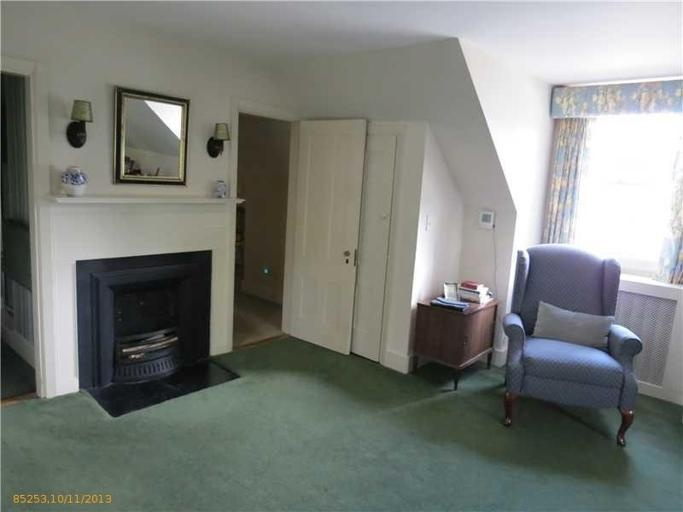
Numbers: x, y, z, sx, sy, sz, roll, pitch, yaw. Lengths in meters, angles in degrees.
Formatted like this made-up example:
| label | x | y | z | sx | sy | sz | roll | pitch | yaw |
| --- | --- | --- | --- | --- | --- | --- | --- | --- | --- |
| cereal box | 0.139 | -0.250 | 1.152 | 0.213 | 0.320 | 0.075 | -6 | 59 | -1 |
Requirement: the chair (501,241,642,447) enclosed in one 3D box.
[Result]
| label | x | y | z | sx | sy | sz | roll | pitch | yaw |
| --- | --- | --- | --- | --- | --- | --- | --- | --- | --- |
| chair | 1.962 | 0.662 | 4.482 | 1.024 | 1.506 | 1.302 | 5 | 3 | 10 |

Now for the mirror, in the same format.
| label | x | y | z | sx | sy | sz | roll | pitch | yaw |
| --- | --- | --- | --- | --- | --- | --- | --- | --- | --- |
| mirror | -1.607 | -1.027 | 4.207 | 0.035 | 0.933 | 0.789 | 11 | 14 | 42 |

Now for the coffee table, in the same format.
| label | x | y | z | sx | sy | sz | roll | pitch | yaw |
| --- | --- | --- | --- | --- | --- | --- | --- | --- | --- |
| coffee table | 1.107 | 0.789 | 4.901 | 0.553 | 0.689 | 0.720 | 10 | 12 | 39 |

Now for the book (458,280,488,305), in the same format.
| label | x | y | z | sx | sy | sz | roll | pitch | yaw |
| --- | --- | --- | --- | --- | --- | --- | --- | --- | --- |
| book | 1.271 | 0.339 | 4.884 | 0.217 | 0.140 | 0.221 | 7 | 7 | 44 |

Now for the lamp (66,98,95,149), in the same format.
| label | x | y | z | sx | sy | sz | roll | pitch | yaw |
| --- | --- | --- | --- | --- | --- | --- | --- | --- | --- |
| lamp | -1.983 | -0.986 | 3.837 | 0.190 | 0.346 | 0.187 | -2 | 10 | -30 |

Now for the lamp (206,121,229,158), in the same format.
| label | x | y | z | sx | sy | sz | roll | pitch | yaw |
| --- | --- | --- | --- | --- | --- | --- | --- | --- | --- |
| lamp | -1.093 | -1.052 | 4.599 | 0.233 | 0.321 | 0.203 | -3 | 10 | -36 |
